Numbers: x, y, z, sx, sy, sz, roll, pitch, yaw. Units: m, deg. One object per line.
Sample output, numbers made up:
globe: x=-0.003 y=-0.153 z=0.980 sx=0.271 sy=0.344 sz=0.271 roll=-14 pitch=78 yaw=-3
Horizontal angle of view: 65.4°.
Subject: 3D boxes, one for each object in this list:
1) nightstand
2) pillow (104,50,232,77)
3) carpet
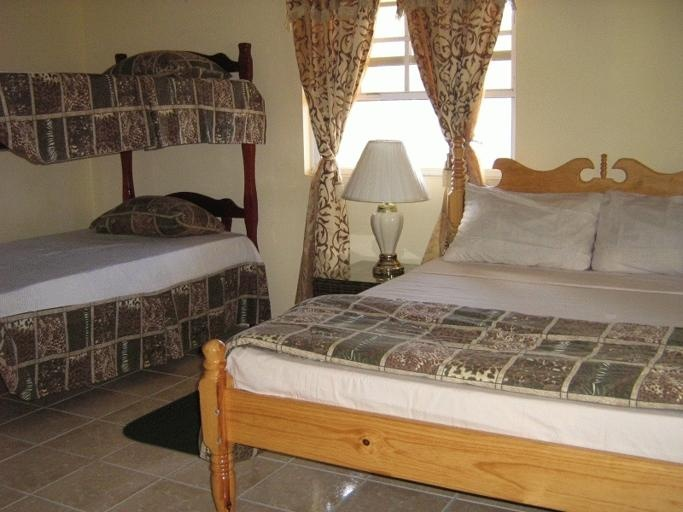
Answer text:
nightstand: x=0.050 y=0.171 z=3.594 sx=0.381 sy=0.218 sz=0.358 roll=3 pitch=11 yaw=25
pillow: x=-1.247 y=-1.342 z=3.773 sx=0.666 sy=0.165 sz=0.484 roll=4 pitch=14 yaw=10
carpet: x=-0.943 y=0.886 z=2.767 sx=0.381 sy=0.024 sz=0.653 roll=-4 pitch=13 yaw=-13
